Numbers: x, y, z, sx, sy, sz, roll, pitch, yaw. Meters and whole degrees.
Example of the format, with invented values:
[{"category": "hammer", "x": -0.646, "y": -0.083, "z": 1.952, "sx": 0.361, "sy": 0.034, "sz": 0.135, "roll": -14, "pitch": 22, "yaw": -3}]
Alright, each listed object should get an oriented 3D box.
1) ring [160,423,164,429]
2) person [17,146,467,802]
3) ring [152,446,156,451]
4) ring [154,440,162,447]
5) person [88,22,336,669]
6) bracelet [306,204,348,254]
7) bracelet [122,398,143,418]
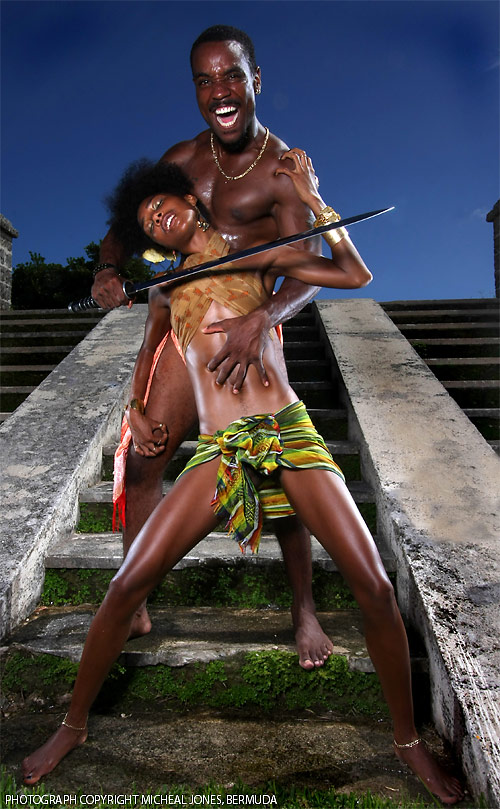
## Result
[{"category": "ring", "x": -0.270, "y": 0.067, "z": 1.964, "sx": 0.012, "sy": 0.019, "sz": 0.015, "roll": 4, "pitch": -7, "yaw": -26}, {"category": "person", "x": -0.012, "y": 0.066, "z": 1.691, "sx": 1.030, "sy": 1.683, "sz": 0.486, "roll": -1, "pitch": -2, "yaw": 10}, {"category": "ring", "x": -0.294, "y": 0.137, "z": 1.950, "sx": 0.003, "sy": 0.008, "sz": 0.012, "roll": -1, "pitch": 46, "yaw": -31}, {"category": "ring", "x": -0.281, "y": 0.120, "z": 1.946, "sx": 0.019, "sy": 0.006, "sz": 0.015, "roll": -24, "pitch": 3, "yaw": 30}, {"category": "person", "x": -0.115, "y": -0.300, "z": 2.153, "sx": 0.750, "sy": 1.772, "sz": 0.575, "roll": 15, "pitch": 32, "yaw": 23}, {"category": "bracelet", "x": 0.195, "y": -0.438, "z": 1.521, "sx": 0.073, "sy": 0.124, "sz": 0.093, "roll": -1, "pitch": -2, "yaw": 8}, {"category": "bracelet", "x": -0.375, "y": 0.014, "z": 2.029, "sx": 0.055, "sy": 0.043, "sz": 0.043, "roll": -13, "pitch": -22, "yaw": 27}]
